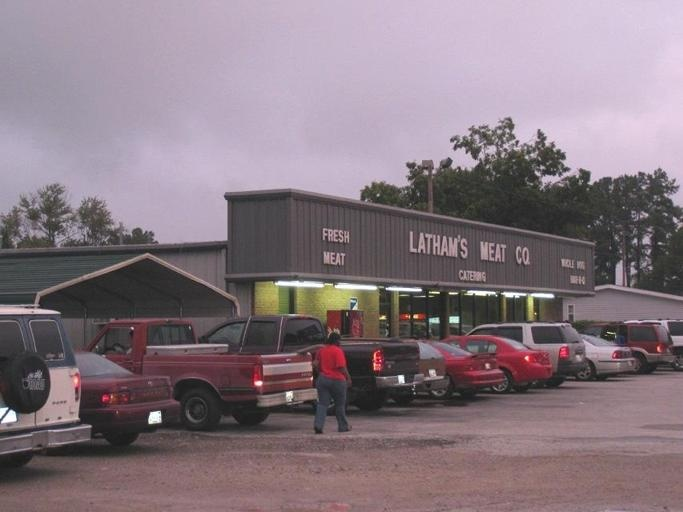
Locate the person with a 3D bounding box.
[{"bbox_3d":[-0.233,2.547,16.679,0.866,2.017,0.719,5,-10,-41],"label":"person"}]
